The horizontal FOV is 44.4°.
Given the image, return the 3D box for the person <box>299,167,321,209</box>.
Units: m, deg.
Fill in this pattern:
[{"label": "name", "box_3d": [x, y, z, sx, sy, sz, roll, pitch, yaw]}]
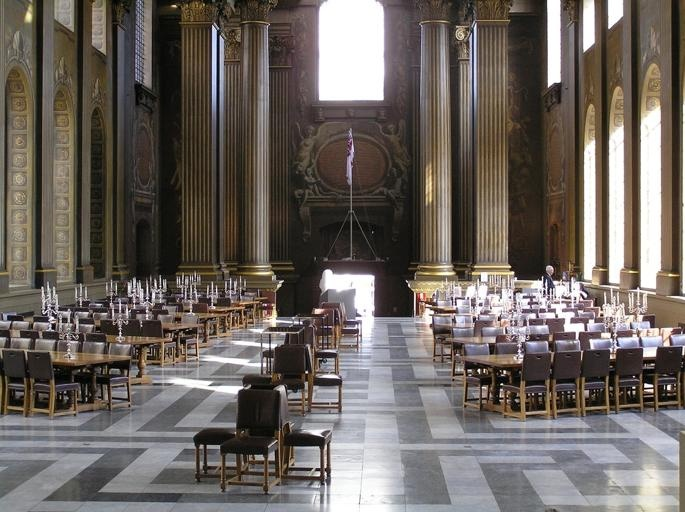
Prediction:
[{"label": "person", "box_3d": [-1.437, -3.059, 37.259, 1.069, 1.698, 0.552, -9, -2, 11]}]
